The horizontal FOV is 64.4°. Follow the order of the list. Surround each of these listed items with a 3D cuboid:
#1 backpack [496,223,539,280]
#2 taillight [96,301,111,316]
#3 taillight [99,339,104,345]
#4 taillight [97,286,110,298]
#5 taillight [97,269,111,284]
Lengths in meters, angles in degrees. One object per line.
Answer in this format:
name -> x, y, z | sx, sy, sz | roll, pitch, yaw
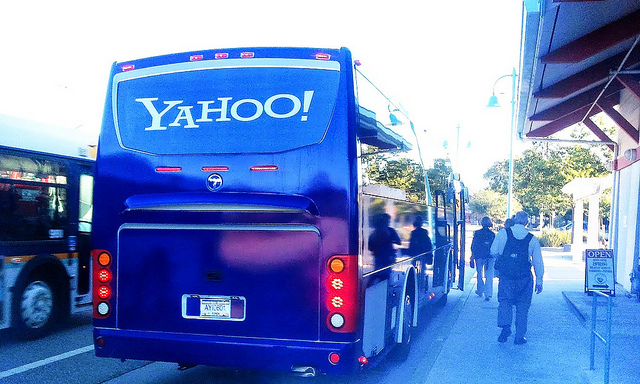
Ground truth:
backpack -> 4.092, 1.282, 10.635 | 0.743, 1.090, 0.361 | 1, 2, 16
taillight -> -3.244, 1.748, 7.625 | 0.229, 0.203, 0.052 | -2, -3, 13
taillight -> -3.241, 2.237, 7.570 | 0.073, 0.065, 0.017 | 12, -9, -23
taillight -> -3.243, 1.503, 7.640 | 0.179, 0.159, 0.062 | 5, 0, 7
taillight -> -3.247, 1.270, 7.648 | 0.208, 0.185, 0.049 | 1, -2, 14
